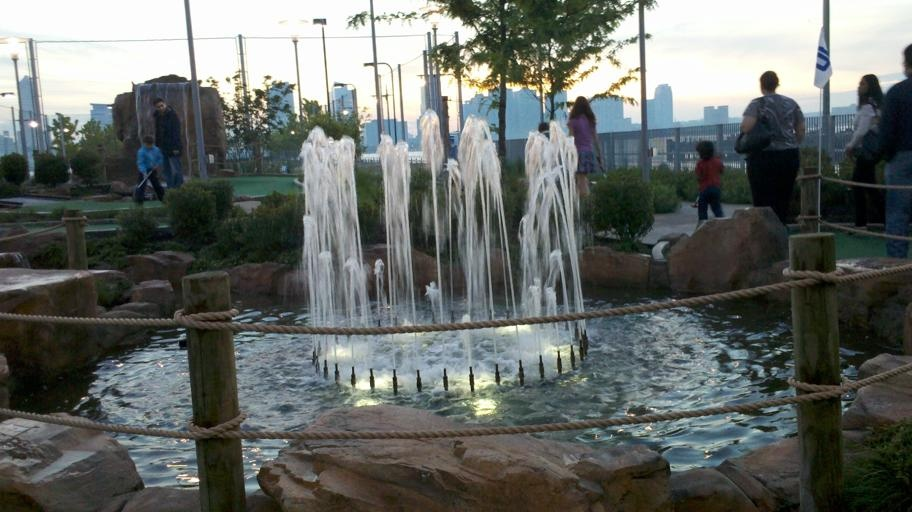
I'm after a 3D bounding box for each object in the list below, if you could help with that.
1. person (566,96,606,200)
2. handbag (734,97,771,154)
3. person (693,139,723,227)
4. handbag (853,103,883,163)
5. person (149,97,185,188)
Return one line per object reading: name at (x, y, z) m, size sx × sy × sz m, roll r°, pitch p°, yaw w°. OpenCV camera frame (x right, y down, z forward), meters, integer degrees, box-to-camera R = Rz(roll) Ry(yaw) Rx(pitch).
person at (3.015, -2.589, 19.012) m, size 0.743 × 2.288 × 1.325 m, roll 0°, pitch 8°, yaw 13°
handbag at (5.658, -2.492, 15.403) m, size 0.619 × 1.090 × 0.356 m, roll 1°, pitch 8°, yaw 21°
person at (5.736, -1.761, 18.420) m, size 0.574 × 1.769 × 1.360 m, roll 1°, pitch 8°, yaw 17°
handbag at (7.917, -2.403, 15.618) m, size 0.786 × 1.030 × 0.600 m, roll -2°, pitch 4°, yaw -44°
person at (-8.323, -3.182, 23.293) m, size 1.006 × 2.711 × 0.857 m, roll 3°, pitch 6°, yaw 31°
